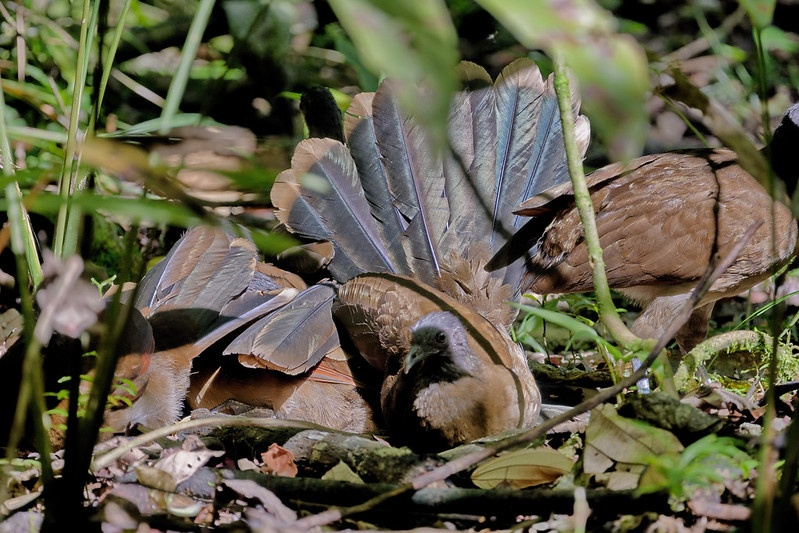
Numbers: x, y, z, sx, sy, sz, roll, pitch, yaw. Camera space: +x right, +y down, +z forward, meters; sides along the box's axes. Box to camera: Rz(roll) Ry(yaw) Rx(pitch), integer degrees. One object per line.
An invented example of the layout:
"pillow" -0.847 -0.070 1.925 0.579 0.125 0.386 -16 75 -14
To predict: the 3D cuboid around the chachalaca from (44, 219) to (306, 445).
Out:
"chachalaca" -0.994 0.252 3.955 0.509 1.073 0.755 25 6 -44
